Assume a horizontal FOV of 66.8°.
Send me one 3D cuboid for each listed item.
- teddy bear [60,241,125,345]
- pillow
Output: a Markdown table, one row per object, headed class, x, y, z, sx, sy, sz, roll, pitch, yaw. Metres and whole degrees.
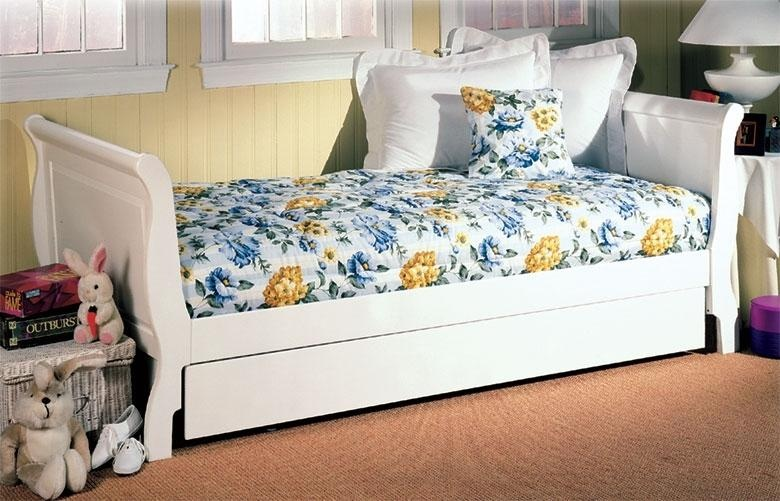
| class | x | y | z | sx | sy | sz | roll | pitch | yaw |
| --- | --- | --- | --- | --- | --- | --- | --- | --- | --- |
| teddy bear | -1.061 | 0.156 | 2.082 | 0.236 | 0.339 | 0.138 | 2 | 12 | 30 |
| pillow | 0.542 | -0.760 | 3.282 | 1.033 | 0.988 | 0.311 | 0 | -16 | -12 |
